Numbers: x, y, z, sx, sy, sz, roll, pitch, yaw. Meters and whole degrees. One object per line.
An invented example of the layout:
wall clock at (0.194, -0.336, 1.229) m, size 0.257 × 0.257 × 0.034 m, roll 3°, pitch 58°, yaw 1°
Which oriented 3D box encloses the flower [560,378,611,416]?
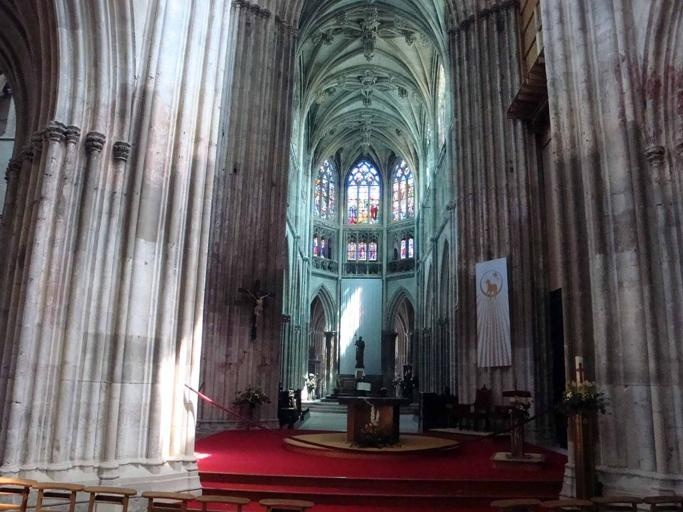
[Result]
flower at (3.449, 2.001, 8.631) m, size 0.521 × 0.329 × 0.555 m, roll -3°, pitch -6°, yaw 16°

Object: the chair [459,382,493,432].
chair at (3.610, 4.067, 16.541) m, size 0.956 × 2.012 × 1.035 m, roll 0°, pitch -13°, yaw 17°
